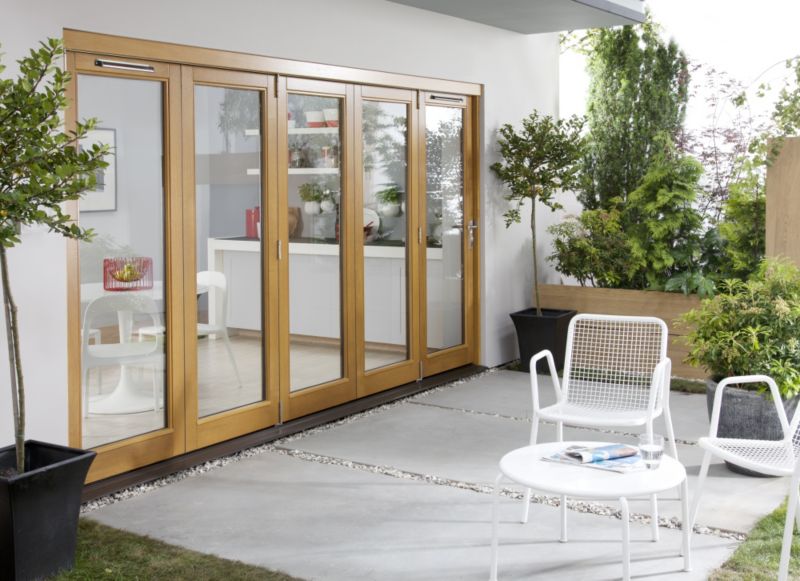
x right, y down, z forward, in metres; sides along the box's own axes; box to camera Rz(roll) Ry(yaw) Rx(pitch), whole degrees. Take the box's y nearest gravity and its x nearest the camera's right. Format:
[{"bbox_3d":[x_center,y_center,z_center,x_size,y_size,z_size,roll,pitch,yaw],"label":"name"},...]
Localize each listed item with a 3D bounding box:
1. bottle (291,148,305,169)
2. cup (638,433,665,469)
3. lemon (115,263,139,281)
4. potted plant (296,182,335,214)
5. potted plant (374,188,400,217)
[{"bbox_3d":[-0.803,-1.024,5.003,0.008,0.136,0.146,6,9,37],"label":"bottle"},{"bbox_3d":[1.121,0.710,2.847,0.128,0.150,0.128,-2,-2,0],"label":"cup"},{"bbox_3d":[-1.736,-0.113,4.076,0.104,0.074,0.098,-7,9,-41],"label":"lemon"},{"bbox_3d":[-0.659,-0.736,5.214,0.227,0.306,0.323,4,6,39],"label":"potted plant"},{"bbox_3d":[-0.104,-0.785,5.893,0.267,0.258,0.238,-1,4,-13],"label":"potted plant"}]
